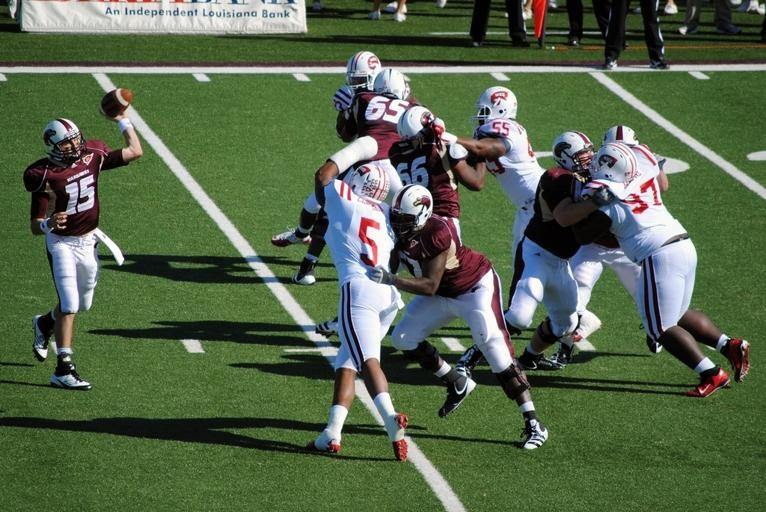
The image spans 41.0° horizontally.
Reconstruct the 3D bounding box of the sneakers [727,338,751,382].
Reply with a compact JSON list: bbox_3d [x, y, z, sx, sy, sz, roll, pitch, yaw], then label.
[{"bbox_3d":[3.402,0.992,9.829,0.241,0.464,0.184,-8,19,18],"label":"sneakers"}]

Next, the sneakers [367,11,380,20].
[{"bbox_3d":[-0.189,-4.593,19.453,0.202,0.168,0.160,-15,15,-12],"label":"sneakers"}]

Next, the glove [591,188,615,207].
[{"bbox_3d":[1.998,-0.537,9.298,0.209,0.167,0.102,2,18,-1],"label":"glove"}]

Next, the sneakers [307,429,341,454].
[{"bbox_3d":[-0.518,1.626,8.931,0.132,0.149,0.356,-1,1,-34],"label":"sneakers"}]

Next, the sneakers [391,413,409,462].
[{"bbox_3d":[0.129,1.544,8.804,0.151,0.418,0.187,-9,30,-11],"label":"sneakers"}]

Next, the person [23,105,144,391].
[{"bbox_3d":[-2.936,-0.086,9.727,0.765,2.403,1.239,7,19,13],"label":"person"}]

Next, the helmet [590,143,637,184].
[{"bbox_3d":[2.140,-0.883,9.584,0.512,0.419,0.383,10,22,36],"label":"helmet"}]

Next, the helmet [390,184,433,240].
[{"bbox_3d":[0.255,-0.438,9.103,0.347,0.411,0.466,22,29,40],"label":"helmet"}]

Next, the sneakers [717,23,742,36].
[{"bbox_3d":[6.333,-4.140,18.699,0.425,0.172,0.175,8,49,12],"label":"sneakers"}]

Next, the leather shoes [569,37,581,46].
[{"bbox_3d":[3.344,-3.746,17.789,0.287,0.154,0.141,-15,25,-42],"label":"leather shoes"}]

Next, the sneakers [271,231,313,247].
[{"bbox_3d":[-1.107,-0.191,11.876,0.521,0.234,0.179,1,50,3],"label":"sneakers"}]

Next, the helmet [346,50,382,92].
[{"bbox_3d":[-0.203,-2.051,11.352,0.480,0.409,0.361,-17,19,-32],"label":"helmet"}]

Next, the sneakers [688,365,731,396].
[{"bbox_3d":[3.100,1.195,9.732,0.322,0.164,0.113,-30,28,10],"label":"sneakers"}]

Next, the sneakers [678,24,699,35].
[{"bbox_3d":[5.572,-4.151,18.755,0.401,0.174,0.151,-1,63,-4],"label":"sneakers"}]

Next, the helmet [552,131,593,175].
[{"bbox_3d":[1.833,-1.049,10.038,0.388,0.360,0.454,-16,23,-33],"label":"helmet"}]

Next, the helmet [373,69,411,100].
[{"bbox_3d":[0.080,-1.857,11.009,0.311,0.372,0.397,20,27,38],"label":"helmet"}]

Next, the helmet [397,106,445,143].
[{"bbox_3d":[0.373,-1.351,10.216,0.499,0.356,0.358,-6,15,-13],"label":"helmet"}]

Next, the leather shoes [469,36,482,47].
[{"bbox_3d":[1.592,-3.737,17.804,0.206,0.141,0.208,7,10,37],"label":"leather shoes"}]

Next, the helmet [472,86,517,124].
[{"bbox_3d":[1.194,-1.623,10.894,0.496,0.392,0.358,-6,16,-3],"label":"helmet"}]

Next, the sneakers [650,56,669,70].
[{"bbox_3d":[4.416,-3.084,16.266,0.359,0.224,0.141,18,40,34],"label":"sneakers"}]

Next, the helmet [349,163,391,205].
[{"bbox_3d":[-0.116,-0.630,9.403,0.317,0.370,0.392,13,-18,-39],"label":"helmet"}]

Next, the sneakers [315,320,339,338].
[{"bbox_3d":[-0.551,0.743,10.382,0.335,0.142,0.120,-2,-11,39],"label":"sneakers"}]

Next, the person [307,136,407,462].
[{"bbox_3d":[-0.165,0.555,8.997,0.802,2.240,1.265,2,19,-2],"label":"person"}]
